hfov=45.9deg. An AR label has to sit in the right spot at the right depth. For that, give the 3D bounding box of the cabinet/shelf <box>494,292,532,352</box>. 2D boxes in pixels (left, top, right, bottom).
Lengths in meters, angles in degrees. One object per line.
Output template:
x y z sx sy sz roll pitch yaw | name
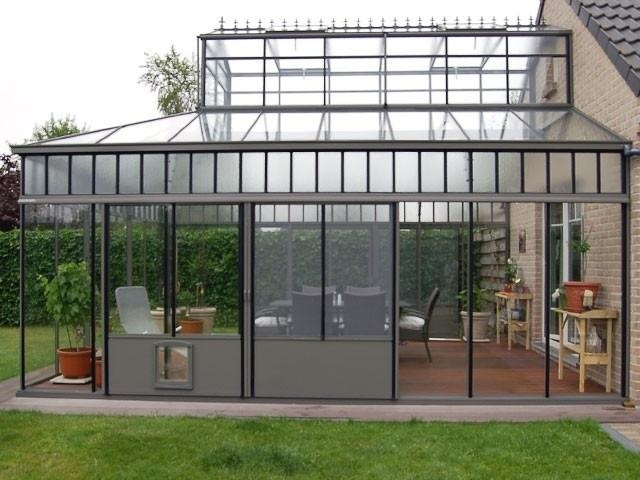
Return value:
4.188 1.806 16.689 0.647 1.235 1.325 -1 -4 -2 | cabinet/shelf

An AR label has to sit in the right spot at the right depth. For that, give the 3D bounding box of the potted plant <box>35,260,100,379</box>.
-4.473 1.500 13.745 1.339 2.175 0.777 -3 -4 29 | potted plant

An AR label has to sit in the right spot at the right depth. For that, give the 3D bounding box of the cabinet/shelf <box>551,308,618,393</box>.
4.823 2.416 14.046 1.015 2.073 2.137 1 -3 5 | cabinet/shelf

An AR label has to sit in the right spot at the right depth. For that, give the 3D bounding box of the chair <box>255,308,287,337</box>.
-0.830 1.472 13.019 0.440 0.281 0.477 1 2 -23 | chair

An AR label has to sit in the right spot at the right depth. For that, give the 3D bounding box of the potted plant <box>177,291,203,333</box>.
-2.252 1.425 13.125 0.380 0.445 0.408 1 -4 -8 | potted plant

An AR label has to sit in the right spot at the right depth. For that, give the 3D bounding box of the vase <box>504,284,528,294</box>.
4.264 1.089 16.507 0.542 0.191 0.348 -3 -4 18 | vase

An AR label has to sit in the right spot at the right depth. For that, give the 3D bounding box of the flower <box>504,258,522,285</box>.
4.282 0.726 16.795 0.317 0.593 0.841 -2 -4 9 | flower

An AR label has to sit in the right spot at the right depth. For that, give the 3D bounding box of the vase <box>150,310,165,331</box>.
-2.827 1.436 13.242 0.291 0.368 0.316 -1 -1 8 | vase
